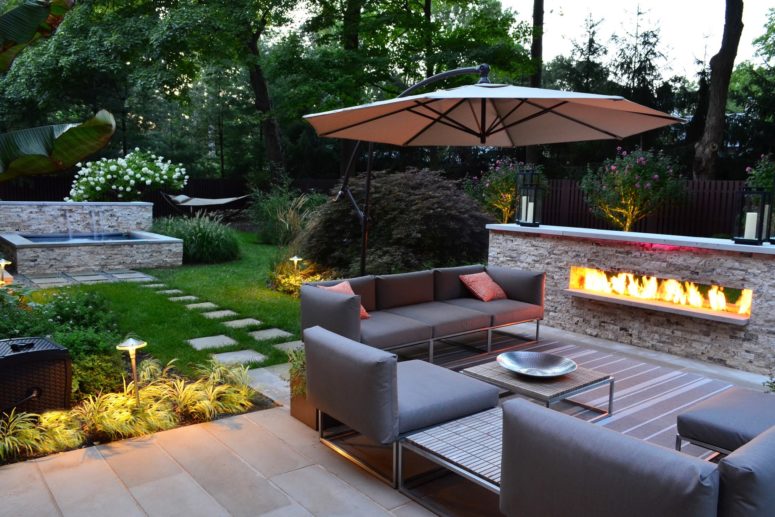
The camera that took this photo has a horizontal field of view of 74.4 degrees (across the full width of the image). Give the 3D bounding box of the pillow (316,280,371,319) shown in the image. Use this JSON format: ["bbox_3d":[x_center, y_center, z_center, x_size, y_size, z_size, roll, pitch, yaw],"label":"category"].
[{"bbox_3d":[-0.529,0.550,6.386,0.147,0.488,0.520,-25,-13,30],"label":"pillow"}]

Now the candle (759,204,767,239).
[{"bbox_3d":[4.799,-0.466,6.479,0.078,0.466,0.214,7,11,36],"label":"candle"}]

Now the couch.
[{"bbox_3d":[0.443,0.669,6.817,3.213,1.053,1.200,-4,7,-35],"label":"couch"}]

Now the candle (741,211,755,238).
[{"bbox_3d":[4.544,-0.407,6.390,0.137,0.338,0.144,7,11,35],"label":"candle"}]

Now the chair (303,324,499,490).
[{"bbox_3d":[0.110,1.255,4.978,1.473,0.976,1.516,-1,3,-33],"label":"chair"}]
